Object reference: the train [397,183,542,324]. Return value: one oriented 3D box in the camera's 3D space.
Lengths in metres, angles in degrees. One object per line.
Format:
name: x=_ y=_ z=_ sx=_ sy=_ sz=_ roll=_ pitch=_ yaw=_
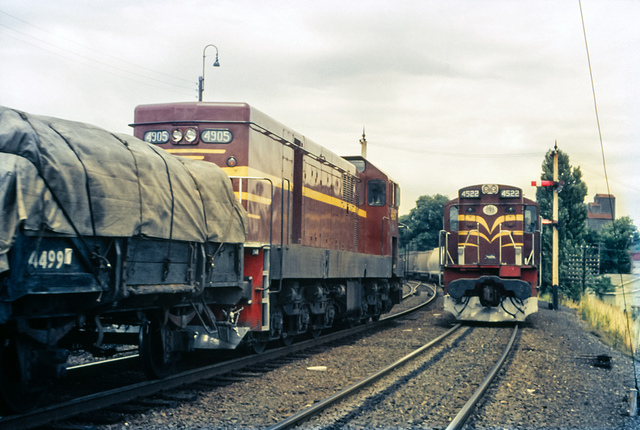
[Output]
train: x=5.436 y=1.383 z=22.005 sx=2.588 sy=3.843 sz=10.261 roll=0 pitch=-2 yaw=7
